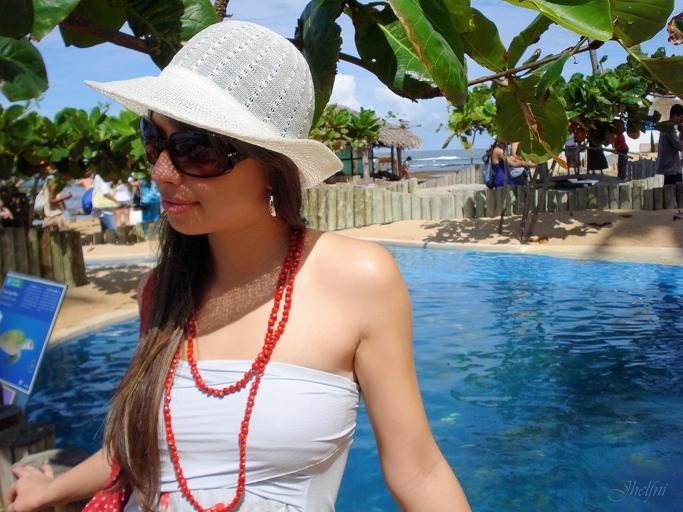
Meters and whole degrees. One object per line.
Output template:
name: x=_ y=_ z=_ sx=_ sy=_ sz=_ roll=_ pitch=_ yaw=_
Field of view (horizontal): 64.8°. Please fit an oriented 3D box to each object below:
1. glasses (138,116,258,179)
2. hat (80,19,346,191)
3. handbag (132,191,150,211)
glasses: x=-0.462 y=-0.324 z=1.575 sx=0.376 sy=0.176 sz=0.133 roll=7 pitch=15 yaw=34
hat: x=-0.335 y=-0.458 z=1.621 sx=0.652 sy=0.374 sz=0.728 roll=16 pitch=8 yaw=-7
handbag: x=-5.498 y=-1.544 z=14.774 sx=0.523 sy=0.645 sz=0.416 roll=-3 pitch=-3 yaw=41
